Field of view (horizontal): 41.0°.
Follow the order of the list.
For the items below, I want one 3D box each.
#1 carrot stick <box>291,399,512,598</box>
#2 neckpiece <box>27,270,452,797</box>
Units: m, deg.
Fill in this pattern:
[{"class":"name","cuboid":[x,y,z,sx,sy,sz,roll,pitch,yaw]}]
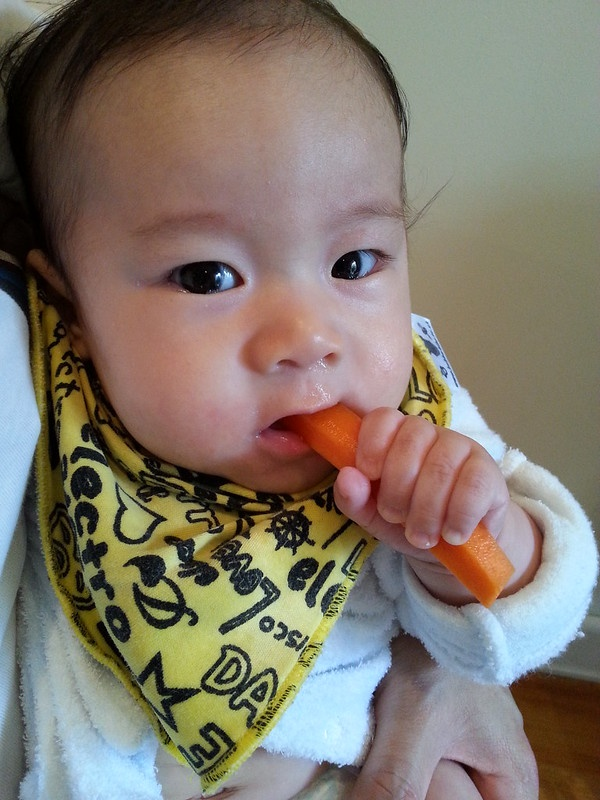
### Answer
[{"class":"carrot stick","cuboid":[0.092,0.104,0.795,0.269,0.070,0.070,44,66,3]},{"class":"neckpiece","cuboid":[-0.115,0.160,0.840,0.407,0.118,0.488,-25,80,-22]}]
